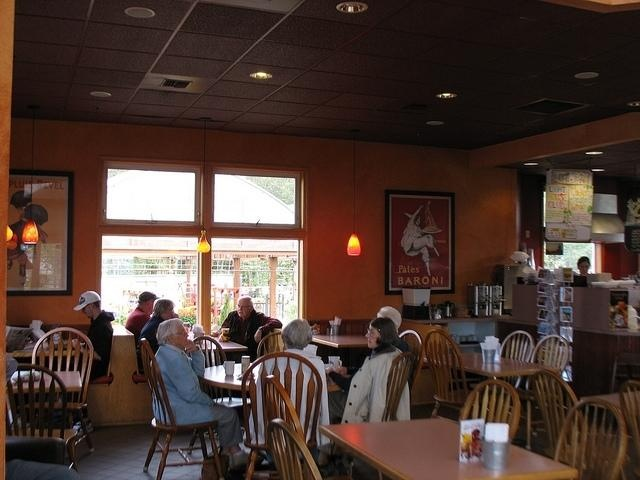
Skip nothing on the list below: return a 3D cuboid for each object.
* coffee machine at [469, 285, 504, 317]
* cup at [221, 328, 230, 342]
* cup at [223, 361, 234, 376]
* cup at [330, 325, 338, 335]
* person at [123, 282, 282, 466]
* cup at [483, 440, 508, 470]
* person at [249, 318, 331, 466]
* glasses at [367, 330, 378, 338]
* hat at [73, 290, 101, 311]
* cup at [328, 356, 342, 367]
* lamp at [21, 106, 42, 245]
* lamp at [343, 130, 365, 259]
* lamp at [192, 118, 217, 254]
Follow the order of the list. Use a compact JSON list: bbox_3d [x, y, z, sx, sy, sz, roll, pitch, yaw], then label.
[{"bbox_3d":[2.570,0.920,8.746,0.508,0.594,0.465,1,-3,-18],"label":"coffee machine"},{"bbox_3d":[-1.213,1.214,7.143,0.133,0.204,0.131,1,-6,0],"label":"cup"},{"bbox_3d":[-0.818,1.163,5.036,0.083,0.118,0.128,1,-4,-11],"label":"cup"},{"bbox_3d":[0.193,1.231,7.565,0.109,0.122,0.109,0,-2,0],"label":"cup"},{"bbox_3d":[-1.325,1.264,5.785,1.329,2.427,1.161,-2,-3,-24],"label":"person"},{"bbox_3d":[0.873,1.066,2.804,0.121,0.103,0.128,3,-2,0],"label":"cup"},{"bbox_3d":[-0.151,0.999,4.336,0.780,1.175,0.681,-1,-1,-8],"label":"person"},{"bbox_3d":[0.484,0.840,4.991,0.063,0.043,0.084,0,-3,44],"label":"glasses"},{"bbox_3d":[-2.740,0.704,6.562,0.336,0.176,0.243,-3,-3,-17],"label":"hat"},{"bbox_3d":[0.146,1.133,5.303,0.136,0.136,0.170,1,-7,-13],"label":"cup"},{"bbox_3d":[-3.336,-0.722,6.451,0.249,1.587,0.227,4,5,7],"label":"lamp"},{"bbox_3d":[0.473,-0.618,7.927,0.232,1.700,0.623,-2,-4,4],"label":"lamp"},{"bbox_3d":[-1.539,-0.662,7.389,0.167,1.683,0.670,-1,-4,-12],"label":"lamp"}]
